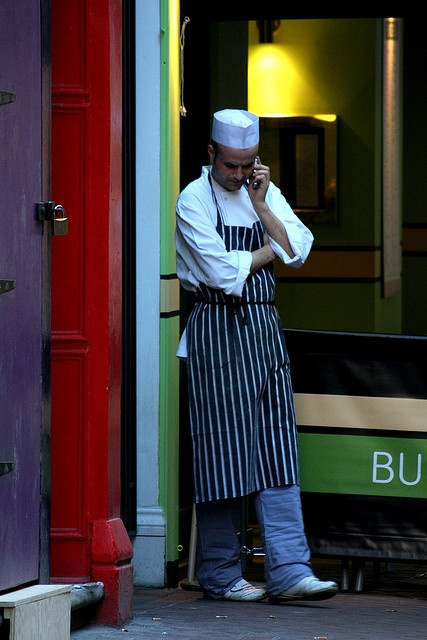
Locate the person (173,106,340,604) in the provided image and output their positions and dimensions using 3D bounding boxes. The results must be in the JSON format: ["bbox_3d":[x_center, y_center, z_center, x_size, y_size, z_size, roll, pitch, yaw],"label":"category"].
[{"bbox_3d":[0.117,0.124,4.263,0.574,1.778,0.490,4,-5,-3],"label":"person"}]

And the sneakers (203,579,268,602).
[{"bbox_3d":[0.098,0.992,4.322,0.171,0.100,0.075,-7,-12,16],"label":"sneakers"}]

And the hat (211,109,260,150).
[{"bbox_3d":[0.073,-0.700,4.294,0.152,0.100,0.237,-3,25,-14],"label":"hat"}]
